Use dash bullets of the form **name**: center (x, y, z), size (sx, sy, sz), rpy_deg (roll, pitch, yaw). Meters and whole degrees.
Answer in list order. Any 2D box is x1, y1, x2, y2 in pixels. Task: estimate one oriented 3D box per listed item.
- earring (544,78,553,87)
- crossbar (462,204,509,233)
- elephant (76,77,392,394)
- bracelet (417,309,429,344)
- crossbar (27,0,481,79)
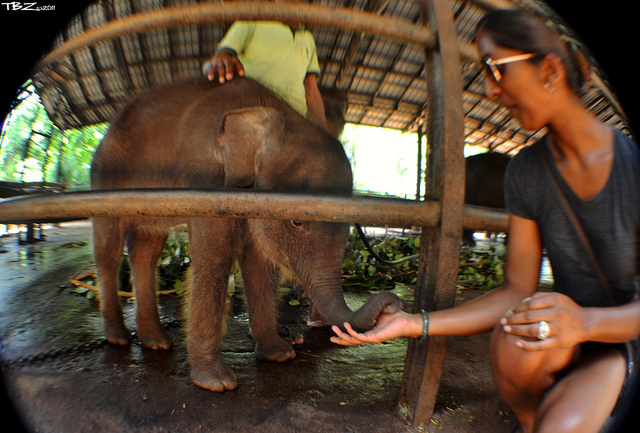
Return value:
- **earring**: center (0.908, -0.527, 1.530), size (0.028, 0.031, 0.005), rpy_deg (0, 9, -4)
- **crossbar**: center (0.795, 0.022, 1.829), size (0.193, 0.144, 0.279), rpy_deg (5, 9, 26)
- **elephant**: center (-0.678, 0.080, 2.722), size (2.320, 1.892, 1.003), rpy_deg (7, 9, 22)
- **bracelet**: center (0.456, 0.500, 1.721), size (0.042, 0.113, 0.091), rpy_deg (-3, 1, -10)
- **crossbar**: center (-0.390, -0.847, 1.764), size (1.842, 0.229, 0.133), rpy_deg (2, 9, 3)
